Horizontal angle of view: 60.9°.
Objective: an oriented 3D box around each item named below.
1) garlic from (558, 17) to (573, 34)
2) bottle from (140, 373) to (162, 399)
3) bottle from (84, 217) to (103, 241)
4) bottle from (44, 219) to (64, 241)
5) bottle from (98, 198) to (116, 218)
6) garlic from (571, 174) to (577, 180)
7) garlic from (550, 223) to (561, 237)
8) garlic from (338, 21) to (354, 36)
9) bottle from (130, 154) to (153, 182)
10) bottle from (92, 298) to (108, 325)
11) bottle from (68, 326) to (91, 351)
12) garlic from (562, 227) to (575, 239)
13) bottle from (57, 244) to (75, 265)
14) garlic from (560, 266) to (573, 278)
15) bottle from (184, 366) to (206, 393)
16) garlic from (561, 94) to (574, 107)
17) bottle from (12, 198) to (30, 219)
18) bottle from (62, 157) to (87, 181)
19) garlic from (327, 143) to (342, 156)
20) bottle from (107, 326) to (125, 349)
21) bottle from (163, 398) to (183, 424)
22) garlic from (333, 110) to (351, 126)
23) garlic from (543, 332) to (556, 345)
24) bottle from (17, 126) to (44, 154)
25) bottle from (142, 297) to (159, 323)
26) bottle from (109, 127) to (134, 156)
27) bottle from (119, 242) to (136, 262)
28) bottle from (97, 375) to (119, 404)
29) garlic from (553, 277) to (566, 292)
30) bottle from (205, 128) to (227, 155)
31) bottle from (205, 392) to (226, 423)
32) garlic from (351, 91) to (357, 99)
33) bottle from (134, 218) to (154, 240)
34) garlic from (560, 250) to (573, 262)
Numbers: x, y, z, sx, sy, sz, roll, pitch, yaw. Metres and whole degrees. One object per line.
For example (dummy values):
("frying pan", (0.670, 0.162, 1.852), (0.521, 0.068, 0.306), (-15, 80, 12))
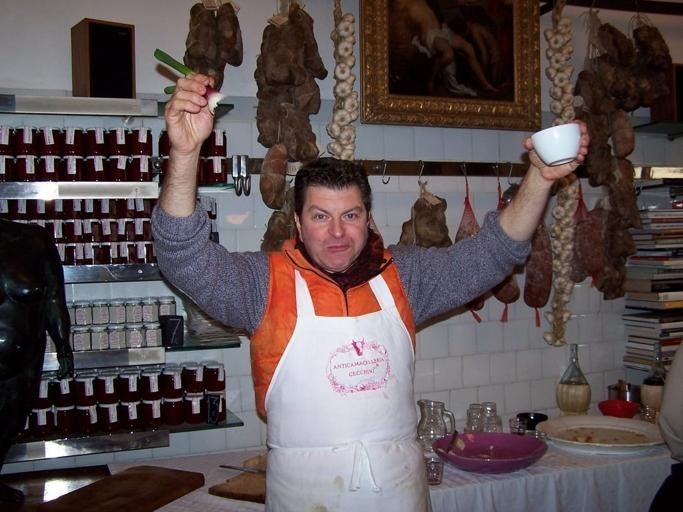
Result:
("garlic", (1.456, -1.500, 3.795), (0.102, 0.111, 0.039), (1, 9, 5))
("bottle", (-0.965, 0.661, 2.954), (0.111, 0.136, 0.118), (-1, -5, 2))
("bottle", (-1.243, -0.133, 2.913), (0.099, 0.161, 0.094), (-3, -4, 0))
("bottle", (-1.411, -0.127, 2.863), (0.091, 0.100, 0.026), (-2, -3, -12))
("bottle", (-1.174, -0.238, 2.932), (0.082, 0.099, 0.085), (1, -4, -12))
("garlic", (1.514, -0.517, 3.792), (0.043, 0.016, 0.046), (-1, 30, -5))
("garlic", (1.415, -0.169, 3.834), (0.043, 0.079, 0.075), (-11, -21, -38))
("garlic", (0.027, -1.324, 3.373), (0.086, 0.082, 0.029), (-2, 3, -2))
("bottle", (-1.000, -0.432, 2.922), (0.116, 0.135, 0.119), (0, -5, -20))
("bottle", (-1.211, 0.289, 2.925), (0.095, 0.153, 0.104), (0, -5, 0))
("bottle", (-1.283, 0.415, 2.873), (0.081, 0.118, 0.115), (0, -7, -10))
("garlic", (1.492, -0.153, 3.811), (0.062, 0.068, 0.026), (2, 10, 5))
("bottle", (-1.343, -0.004, 2.836), (0.091, 0.107, 0.012), (-3, 1, -7))
("garlic", (1.490, 0.106, 3.856), (0.063, 0.035, 0.064), (-8, 17, -22))
("bottle", (-0.762, 0.643, 3.022), (0.114, 0.137, 0.120), (-1, -6, 1))
("garlic", (1.492, -1.036, 3.845), (0.075, 0.080, 0.033), (11, 17, -20))
("bottle", (-1.568, -0.227, 2.837), (0.081, 0.098, 0.037), (-3, 3, -25))
("bottle", (-1.304, -0.424, 2.838), (0.103, 0.118, 0.106), (0, 4, 4))
("garlic", (-0.040, -0.614, 3.403), (0.044, 0.088, 0.081), (-9, -15, -19))
("bottle", (-1.124, 0.409, 2.921), (0.100, 0.105, 0.089), (2, -3, -24))
("bottle", (-0.861, 0.804, 2.978), (0.115, 0.140, 0.122), (-2, -7, 11))
("garlic", (0.009, -0.807, 3.384), (0.084, 0.092, 0.038), (0, 17, 0))
("garlic", (1.418, 0.565, 3.954), (0.063, 0.092, 0.023), (2, -3, 6))
("bottle", (-1.509, -0.556, 2.807), (0.115, 0.139, 0.047), (-3, 3, -25))
("bottle", (-0.979, 0.286, 2.990), (0.097, 0.149, 0.107), (1, -6, 0))
("bottle", (-1.103, -0.563, 2.885), (0.115, 0.144, 0.118), (0, 0, -12))
("bottle", (-1.080, -0.018, 2.933), (0.088, 0.114, 0.059), (-1, 3, -2))
("bottle", (-1.161, 0.668, 2.907), (0.115, 0.140, 0.123), (-1, -4, 0))
("garlic", (1.453, 0.195, 3.849), (0.082, 0.088, 0.068), (1, -5, 16))
("bottle", (-0.649, -0.591, 3.043), (0.120, 0.141, 0.125), (0, -3, -5))
("bottle", (-0.651, 0.794, 3.008), (0.132, 0.189, 0.103), (0, -5, -4))
("garlic", (0.080, -0.949, 3.392), (0.033, 0.037, 0.015), (13, -11, -17))
("bottle", (-0.962, -0.129, 2.825), (0.099, 0.161, 0.095), (-3, -4, 0))
("garlic", (1.488, -0.003, 3.830), (0.066, 0.070, 0.025), (4, 39, 0))
